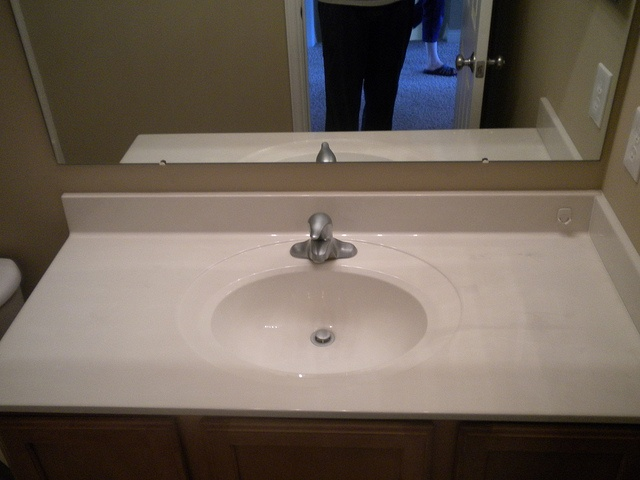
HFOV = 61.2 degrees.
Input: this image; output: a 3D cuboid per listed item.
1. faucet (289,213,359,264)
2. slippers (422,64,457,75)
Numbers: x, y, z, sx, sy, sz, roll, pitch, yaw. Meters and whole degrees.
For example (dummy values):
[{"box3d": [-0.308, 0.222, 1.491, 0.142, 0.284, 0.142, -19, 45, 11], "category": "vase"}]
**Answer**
[{"box3d": [0.008, 0.010, 1.473, 0.163, 0.135, 0.120, 2, -47, 4], "category": "faucet"}, {"box3d": [0.324, -0.456, 1.464, 0.082, 0.036, 0.029, 3, -37, 4], "category": "slippers"}]
